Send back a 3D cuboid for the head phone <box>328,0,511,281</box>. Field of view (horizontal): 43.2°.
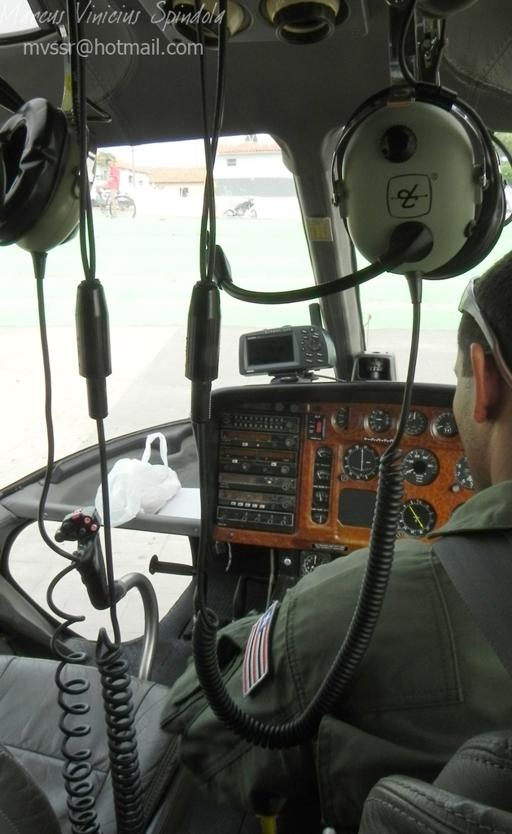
[{"bbox_3d":[0.187,-0.267,0.747,0.227,0.300,0.107,-2,16,15],"label":"head phone"}]

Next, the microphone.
[{"bbox_3d":[0.065,-0.165,0.689,0.173,0.086,0.210,5,11,37],"label":"microphone"}]
